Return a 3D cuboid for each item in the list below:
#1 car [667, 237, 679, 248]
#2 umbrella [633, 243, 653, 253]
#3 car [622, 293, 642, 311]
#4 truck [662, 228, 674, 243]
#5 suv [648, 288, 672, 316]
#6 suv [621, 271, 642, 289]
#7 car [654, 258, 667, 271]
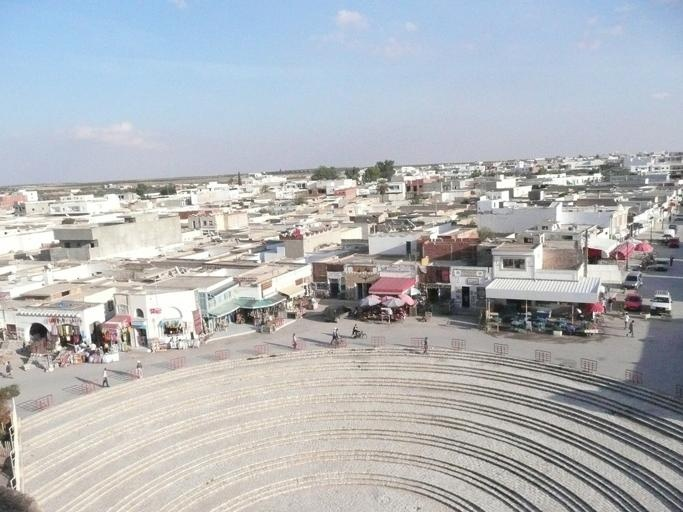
[{"bbox_3d":[44.795,-1.847,82.005,1.334,0.967,2.171,2,9,20],"label":"car"},{"bbox_3d":[34.010,-0.997,69.016,2.293,0.848,2.765,-3,4,11],"label":"umbrella"},{"bbox_3d":[25.278,3.974,52.780,1.174,0.801,2.423,0,5,25],"label":"car"},{"bbox_3d":[46.752,-2.870,87.139,1.963,1.974,4.760,6,16,25],"label":"truck"},{"bbox_3d":[27.240,3.977,51.964,1.717,1.201,3.566,0,5,23],"label":"suv"},{"bbox_3d":[28.741,2.354,60.038,1.431,0.830,2.554,1,5,31],"label":"suv"},{"bbox_3d":[35.697,0.940,67.930,1.211,0.758,2.750,-1,11,28],"label":"car"}]
